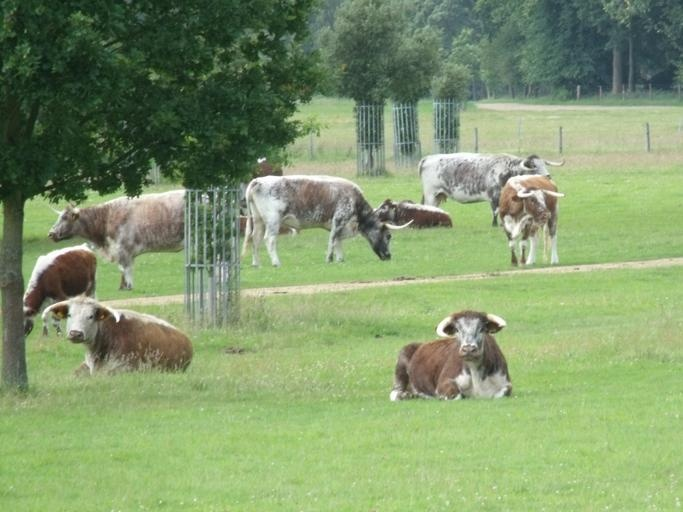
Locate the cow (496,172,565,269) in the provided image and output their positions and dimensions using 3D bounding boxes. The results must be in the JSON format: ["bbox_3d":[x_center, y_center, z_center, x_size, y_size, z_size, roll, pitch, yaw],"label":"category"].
[{"bbox_3d":[5.581,-1.159,53.253,1.738,2.824,1.519,4,12,12],"label":"cow"}]

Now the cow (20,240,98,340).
[{"bbox_3d":[-7.332,0.984,45.850,1.093,2.029,3.949,0,11,22],"label":"cow"}]
